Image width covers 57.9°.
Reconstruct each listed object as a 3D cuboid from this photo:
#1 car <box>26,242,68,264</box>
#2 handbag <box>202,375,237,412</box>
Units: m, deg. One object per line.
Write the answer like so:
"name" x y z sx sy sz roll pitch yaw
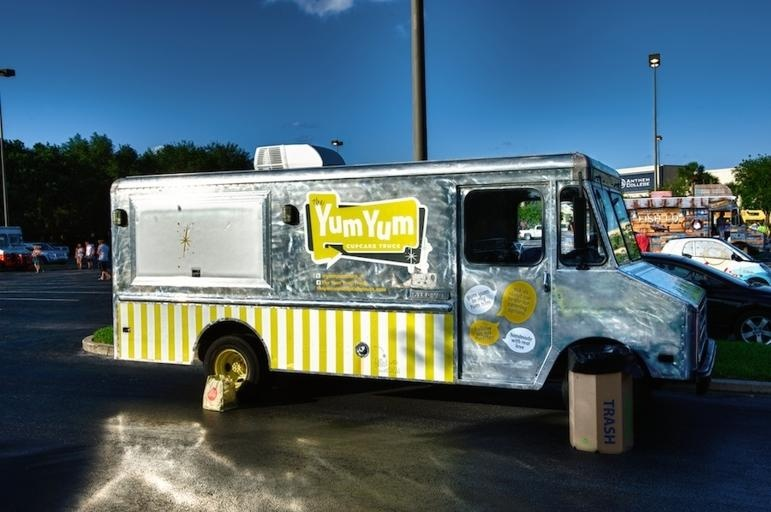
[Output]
"car" -22.500 -0.111 47.227 2.342 0.828 1.497 -1 4 19
"handbag" -2.534 2.124 10.806 0.536 0.587 0.402 1 3 -2
